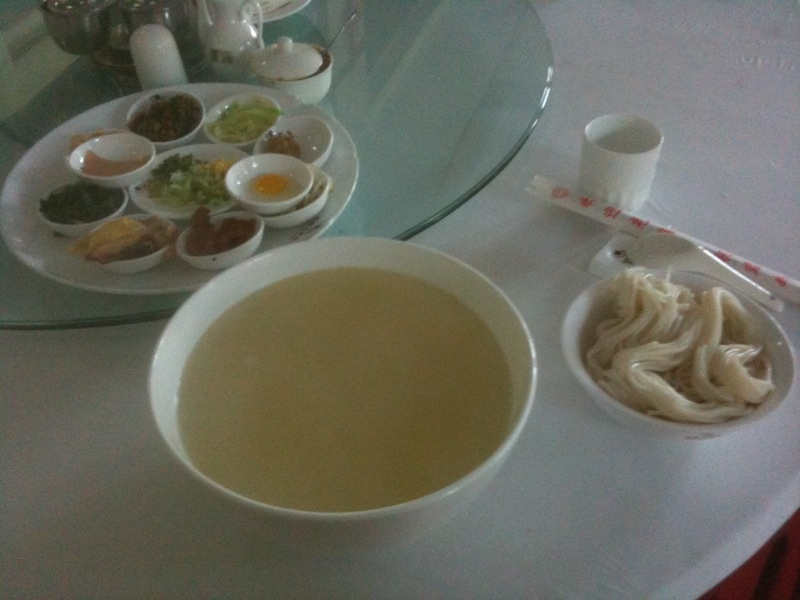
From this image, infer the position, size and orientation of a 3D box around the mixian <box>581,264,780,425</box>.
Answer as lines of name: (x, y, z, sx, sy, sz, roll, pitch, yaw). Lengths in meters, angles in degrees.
mixian: (0.436, 0.110, 1.044, 0.219, 0.137, 0.240, -37, 58, -13)

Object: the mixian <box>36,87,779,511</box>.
mixian: (-0.007, 0.035, 0.733, 0.635, 0.135, 0.434, 9, 59, 3)

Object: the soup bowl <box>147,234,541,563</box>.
soup bowl: (-0.081, 0.112, 0.886, 0.499, 0.234, 0.465, 1, 72, -2)

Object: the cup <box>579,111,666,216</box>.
cup: (0.447, -0.278, 1.393, 0.181, 0.196, 0.204, -6, 44, 4)
